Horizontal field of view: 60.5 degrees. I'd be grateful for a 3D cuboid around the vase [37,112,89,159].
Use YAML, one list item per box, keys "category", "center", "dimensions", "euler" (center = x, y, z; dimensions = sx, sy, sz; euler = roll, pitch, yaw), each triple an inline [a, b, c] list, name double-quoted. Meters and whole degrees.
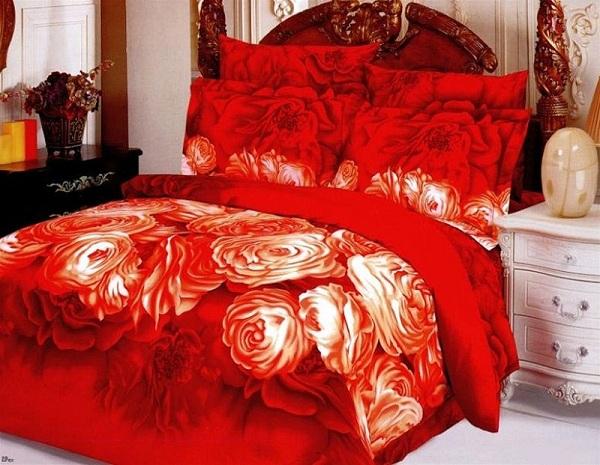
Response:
- category: "vase"
  center: [-1.430, -0.613, 3.129]
  dimensions: [0.204, 0.267, 0.232]
  euler: [9, 19, 14]
